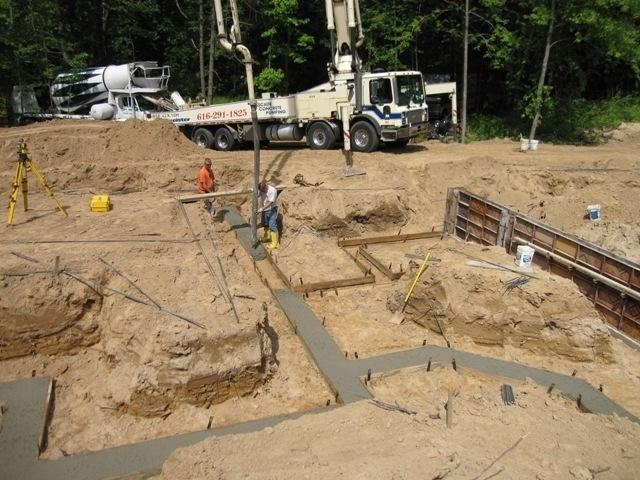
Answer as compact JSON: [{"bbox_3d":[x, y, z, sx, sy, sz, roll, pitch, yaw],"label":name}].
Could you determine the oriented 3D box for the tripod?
[{"bbox_3d":[-8.789,-1.975,14.362,1.407,1.740,5.879,-15,22,-31],"label":"tripod"}]

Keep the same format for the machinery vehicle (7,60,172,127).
[{"bbox_3d":[-12.551,-7.843,26.278,8.739,3.043,2.371,0,18,11],"label":"machinery vehicle"}]

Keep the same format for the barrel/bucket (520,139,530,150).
[{"bbox_3d":[8.629,-4.026,20.238,0.414,0.474,0.428,-3,20,1],"label":"barrel/bucket"}]

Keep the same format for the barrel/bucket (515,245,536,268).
[{"bbox_3d":[4.400,0.310,10.342,0.380,0.572,0.394,2,12,0],"label":"barrel/bucket"}]

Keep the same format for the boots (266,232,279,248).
[{"bbox_3d":[-1.259,-0.045,13.221,0.397,0.553,0.290,-2,28,-3],"label":"boots"}]
